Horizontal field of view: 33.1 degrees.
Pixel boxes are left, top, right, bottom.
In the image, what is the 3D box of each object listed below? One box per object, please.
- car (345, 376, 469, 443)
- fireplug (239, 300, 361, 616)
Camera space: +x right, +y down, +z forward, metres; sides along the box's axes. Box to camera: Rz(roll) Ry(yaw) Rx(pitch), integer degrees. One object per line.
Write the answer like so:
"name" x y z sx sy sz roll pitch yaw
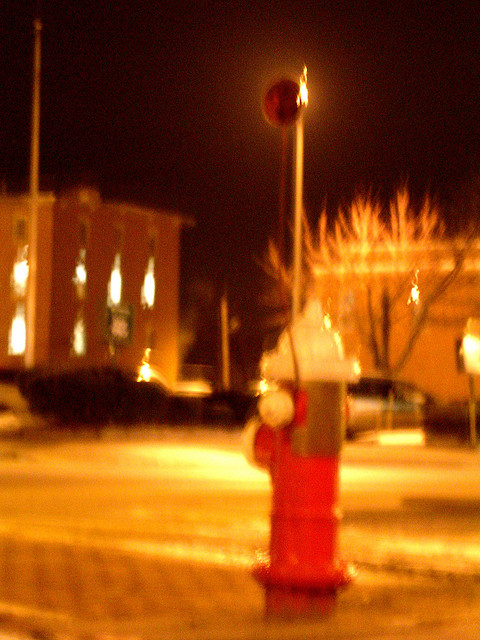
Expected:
"car" 3.169 1.700 15.441 2.269 1.332 1.318 -1 -1 -12
"fireplug" 0.347 0.717 4.442 0.555 1.574 0.731 -1 -5 18
